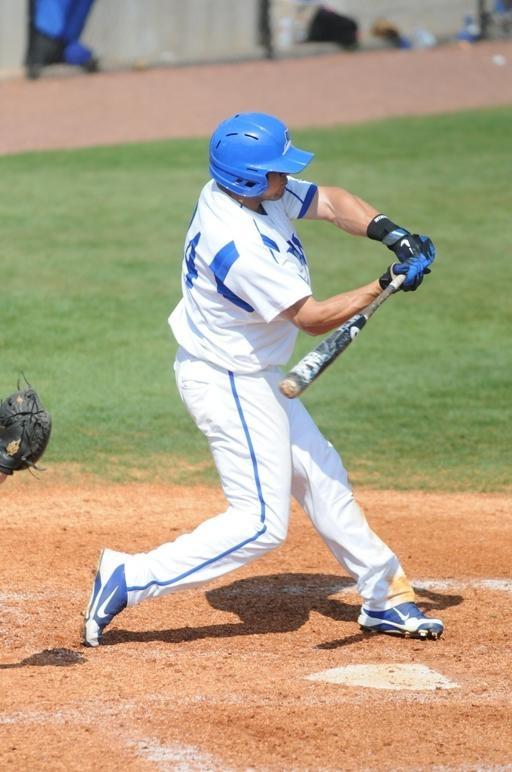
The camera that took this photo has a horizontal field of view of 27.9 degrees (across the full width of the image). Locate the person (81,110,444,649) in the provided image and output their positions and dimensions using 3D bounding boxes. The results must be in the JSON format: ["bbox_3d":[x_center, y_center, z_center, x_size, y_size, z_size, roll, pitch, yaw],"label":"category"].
[{"bbox_3d":[-0.006,0.006,3.472,1.219,1.811,0.617,-4,14,-5],"label":"person"}]

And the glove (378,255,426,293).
[{"bbox_3d":[0.486,-0.346,3.309,0.144,0.049,0.108,-36,27,-15],"label":"glove"}]

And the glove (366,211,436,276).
[{"bbox_3d":[0.479,-0.477,3.442,0.270,0.166,0.123,29,11,28],"label":"glove"}]

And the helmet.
[{"bbox_3d":[0.007,-0.740,3.273,0.320,0.274,0.286,-3,12,-2],"label":"helmet"}]

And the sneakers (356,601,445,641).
[{"bbox_3d":[0.501,0.806,3.557,0.339,0.138,0.114,3,-4,14],"label":"sneakers"}]
